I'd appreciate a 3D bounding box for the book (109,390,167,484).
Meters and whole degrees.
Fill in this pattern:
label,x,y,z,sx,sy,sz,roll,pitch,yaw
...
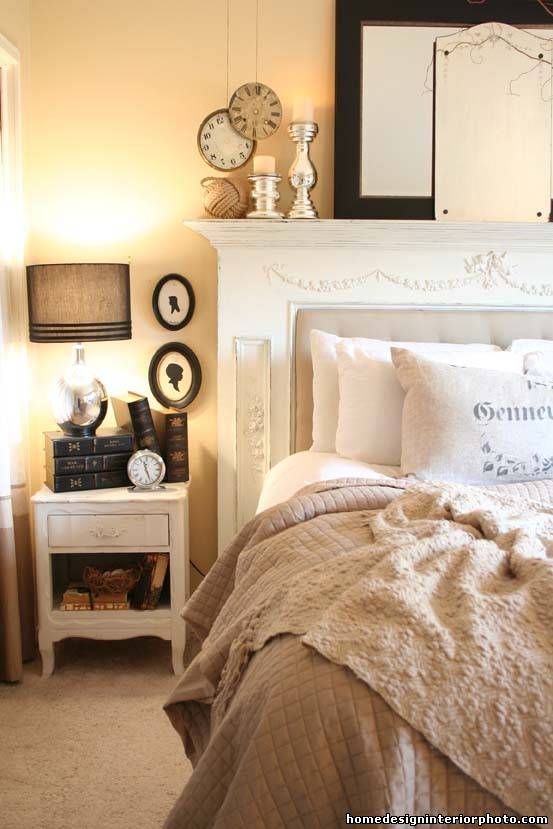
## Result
label,x,y,z,sx,sy,sz,roll,pitch,yaw
book,-0.511,0.097,2.622,0.094,0.256,0.269,-17,25,-14

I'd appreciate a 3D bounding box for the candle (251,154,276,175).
label,x,y,z,sx,sy,sz,roll,pitch,yaw
candle,-0.037,-0.915,2.629,0.089,0.069,0.090,0,19,-3

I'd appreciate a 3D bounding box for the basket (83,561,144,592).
label,x,y,z,sx,sy,sz,roll,pitch,yaw
basket,-0.631,0.614,2.620,0.158,0.085,0.133,-11,-18,40

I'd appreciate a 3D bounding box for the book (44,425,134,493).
label,x,y,z,sx,sy,sz,roll,pitch,yaw
book,-0.676,0.146,2.543,0.229,0.152,0.227,-2,4,-31

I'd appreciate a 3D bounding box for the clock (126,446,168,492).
label,x,y,z,sx,sy,sz,roll,pitch,yaw
clock,-0.477,0.201,2.559,0.147,0.167,0.048,-3,5,-21

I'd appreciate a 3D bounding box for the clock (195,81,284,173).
label,x,y,z,sx,sy,sz,roll,pitch,yaw
clock,-0.142,-1.103,2.739,0.318,0.314,0.088,1,5,4

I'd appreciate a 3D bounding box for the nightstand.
label,x,y,z,sx,sy,sz,roll,pitch,yaw
nightstand,-0.546,0.542,2.772,0.743,0.901,0.599,0,0,-2

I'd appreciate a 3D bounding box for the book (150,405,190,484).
label,x,y,z,sx,sy,sz,roll,pitch,yaw
book,-0.403,0.125,2.651,0.090,0.265,0.278,-3,6,-12
